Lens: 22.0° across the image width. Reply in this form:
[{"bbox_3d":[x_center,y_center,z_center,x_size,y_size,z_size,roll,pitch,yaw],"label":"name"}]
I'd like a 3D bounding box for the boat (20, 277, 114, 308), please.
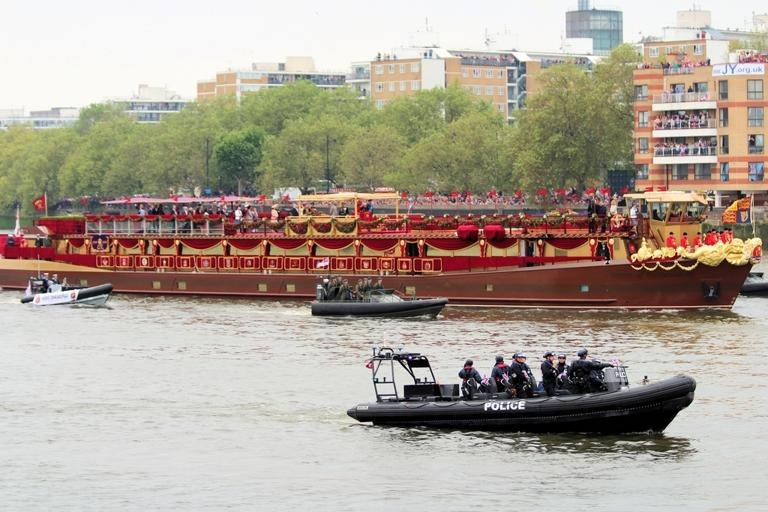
[{"bbox_3d":[-21.846,2.591,135.863,7.873,2.421,2.280,-2,1,21],"label":"boat"}]

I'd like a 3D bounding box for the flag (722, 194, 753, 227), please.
[{"bbox_3d":[28.469,-3.677,159.248,4.650,2.961,0.565,0,9,-32],"label":"flag"}]

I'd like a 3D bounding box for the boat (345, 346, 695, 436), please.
[{"bbox_3d":[8.154,7.760,109.558,18.683,4.959,7.956,-1,-4,21],"label":"boat"}]

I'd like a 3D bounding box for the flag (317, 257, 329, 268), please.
[{"bbox_3d":[-4.190,0.468,135.168,0.756,0.691,0.198,10,-19,45],"label":"flag"}]

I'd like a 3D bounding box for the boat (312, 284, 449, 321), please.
[{"bbox_3d":[-0.337,3.229,129.859,9.047,2.347,3.902,1,2,12],"label":"boat"}]
